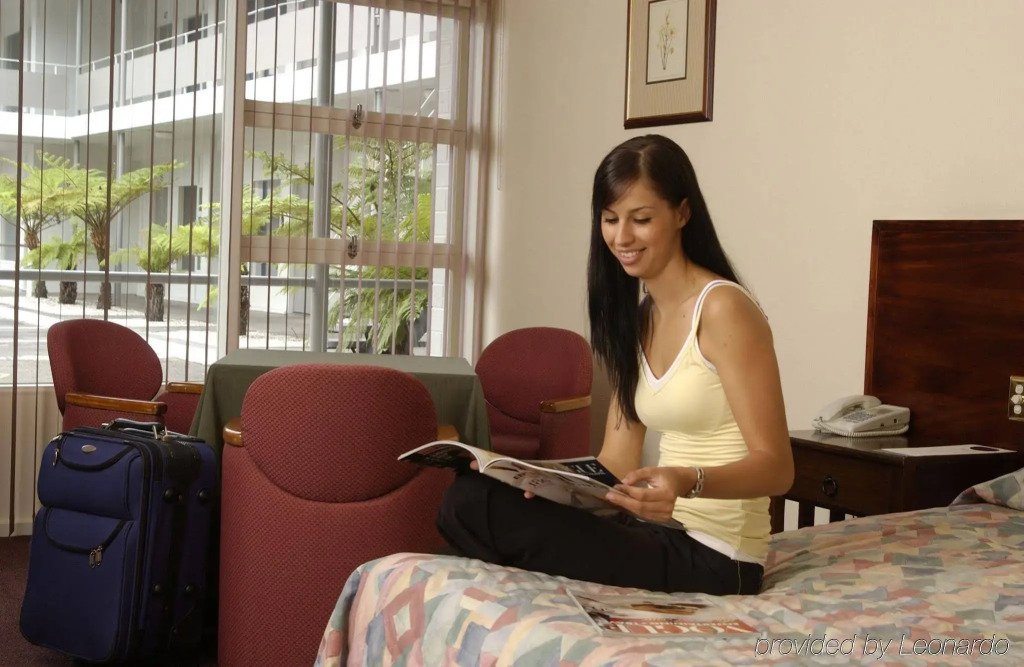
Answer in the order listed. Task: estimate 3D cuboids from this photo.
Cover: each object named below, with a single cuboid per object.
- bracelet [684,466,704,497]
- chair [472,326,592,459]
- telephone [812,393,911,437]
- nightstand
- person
[{"bbox_3d":[0.464,0.379,1.828,0.042,0.074,0.069,4,-4,-21],"label":"bracelet"},{"bbox_3d":[0.137,0.319,4.532,0.770,1.141,0.760,-1,-4,18],"label":"chair"},{"bbox_3d":[1.496,0.351,3.125,0.341,0.136,0.358,-4,1,-11],"label":"telephone"},{"bbox_3d":[1.480,0.406,2.871,0.395,0.530,0.538,-1,3,-27],"label":"nightstand"},{"bbox_3d":[0.373,0.076,1.982,0.784,1.218,0.652,8,13,23],"label":"person"}]
